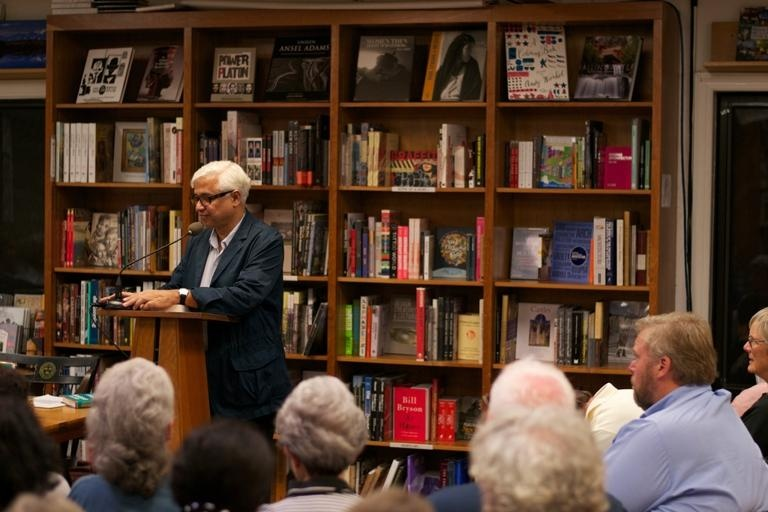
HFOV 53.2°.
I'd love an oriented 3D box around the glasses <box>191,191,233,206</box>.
[{"bbox_3d":[-0.924,-0.314,4.054,0.224,0.079,0.074,3,-5,13],"label":"glasses"}]
